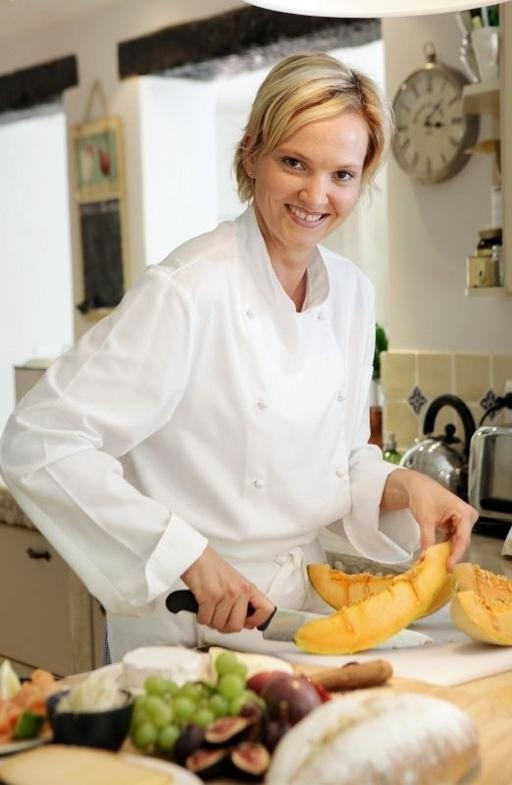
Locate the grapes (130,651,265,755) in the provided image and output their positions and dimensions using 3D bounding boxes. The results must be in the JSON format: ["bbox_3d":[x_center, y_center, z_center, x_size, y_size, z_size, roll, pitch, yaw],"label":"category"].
[{"bbox_3d":[-0.041,0.221,0.507,0.087,0.052,0.069,5,10,-2],"label":"grapes"}]

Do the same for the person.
[{"bbox_3d":[0.006,-0.009,1.008,0.658,0.915,0.438,-1,12,-34],"label":"person"}]

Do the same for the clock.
[{"bbox_3d":[0.524,-0.794,2.132,0.063,0.314,0.293,-16,23,-32],"label":"clock"}]
